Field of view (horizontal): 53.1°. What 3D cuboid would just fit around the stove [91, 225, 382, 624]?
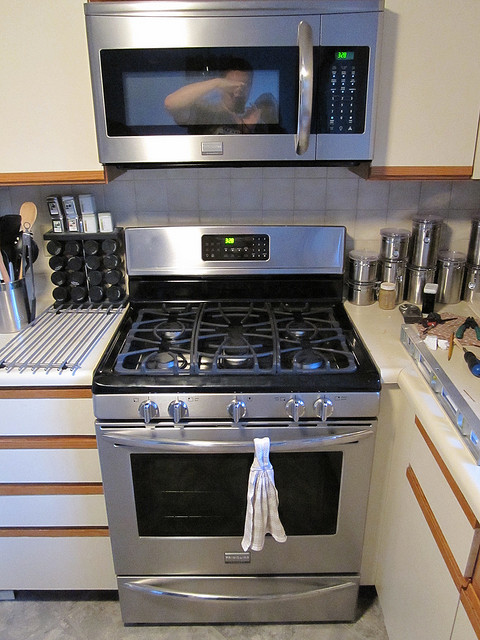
[{"bbox_3d":[-0.011,0.321,1.472,0.717,1.074,0.659,0,23,-1],"label":"stove"}]

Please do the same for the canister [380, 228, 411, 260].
[{"bbox_3d":[0.510,-0.249,1.632,0.102,0.107,0.105,0,26,3],"label":"canister"}]

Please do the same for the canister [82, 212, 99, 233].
[{"bbox_3d":[-0.507,-0.329,1.616,0.057,0.085,0.059,1,11,0],"label":"canister"}]

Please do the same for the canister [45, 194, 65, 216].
[{"bbox_3d":[-0.609,-0.371,1.575,0.044,0.062,0.034,-6,24,-13],"label":"canister"}]

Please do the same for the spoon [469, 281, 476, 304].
[{"bbox_3d":[0.768,-0.096,1.580,0.017,0.054,0.046,4,24,8],"label":"spoon"}]

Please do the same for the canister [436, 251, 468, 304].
[{"bbox_3d":[0.690,-0.144,1.639,0.089,0.166,0.104,1,24,-1],"label":"canister"}]

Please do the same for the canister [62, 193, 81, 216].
[{"bbox_3d":[-0.561,-0.376,1.582,0.052,0.100,0.071,-4,11,-13],"label":"canister"}]

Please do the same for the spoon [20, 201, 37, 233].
[{"bbox_3d":[-0.654,-0.315,1.457,0.042,0.107,0.014,4,15,-4],"label":"spoon"}]

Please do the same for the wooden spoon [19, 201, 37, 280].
[{"bbox_3d":[-0.655,-0.317,1.473,0.047,0.082,0.099,-10,26,-23],"label":"wooden spoon"}]

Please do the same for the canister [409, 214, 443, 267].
[{"bbox_3d":[0.623,-0.268,1.615,0.097,0.158,0.122,9,25,19],"label":"canister"}]

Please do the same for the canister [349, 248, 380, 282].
[{"bbox_3d":[0.408,-0.180,1.638,0.100,0.104,0.103,-3,26,-4],"label":"canister"}]

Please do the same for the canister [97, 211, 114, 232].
[{"bbox_3d":[-0.456,-0.329,1.615,0.055,0.082,0.059,2,29,-1],"label":"canister"}]

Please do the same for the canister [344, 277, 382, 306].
[{"bbox_3d":[0.421,-0.101,1.646,0.091,0.072,0.107,26,42,32],"label":"canister"}]

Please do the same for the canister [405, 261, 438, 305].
[{"bbox_3d":[0.610,-0.133,1.633,0.072,0.118,0.074,4,17,-1],"label":"canister"}]

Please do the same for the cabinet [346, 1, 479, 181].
[{"bbox_3d":[0.497,-0.656,1.394,0.292,0.395,0.261,3,27,5],"label":"cabinet"}]

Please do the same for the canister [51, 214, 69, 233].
[{"bbox_3d":[-0.603,-0.321,1.596,0.035,0.061,0.044,7,50,0],"label":"canister"}]
